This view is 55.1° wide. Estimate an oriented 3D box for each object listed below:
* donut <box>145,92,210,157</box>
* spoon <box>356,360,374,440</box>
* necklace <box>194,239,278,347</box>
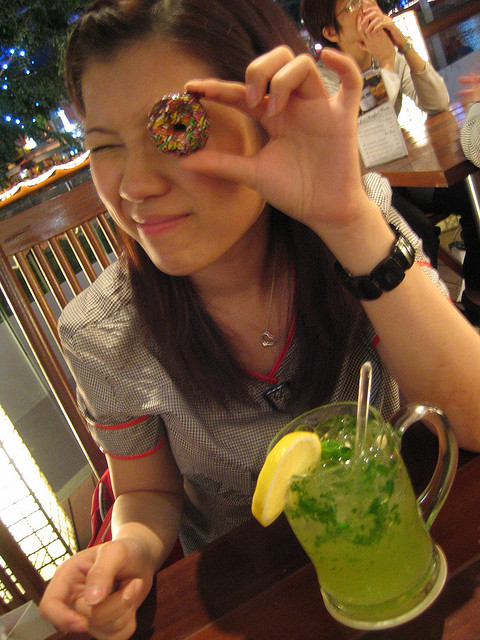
[{"bbox_3d":[-0.079,-0.251,0.598,0.072,0.075,0.040,-31,21,-8],"label":"donut"},{"bbox_3d":[0.125,0.078,0.461,0.011,0.091,0.011,1,17,10],"label":"spoon"},{"bbox_3d":[0.031,-0.035,0.936,0.199,0.168,0.076,-30,21,-4],"label":"necklace"}]
